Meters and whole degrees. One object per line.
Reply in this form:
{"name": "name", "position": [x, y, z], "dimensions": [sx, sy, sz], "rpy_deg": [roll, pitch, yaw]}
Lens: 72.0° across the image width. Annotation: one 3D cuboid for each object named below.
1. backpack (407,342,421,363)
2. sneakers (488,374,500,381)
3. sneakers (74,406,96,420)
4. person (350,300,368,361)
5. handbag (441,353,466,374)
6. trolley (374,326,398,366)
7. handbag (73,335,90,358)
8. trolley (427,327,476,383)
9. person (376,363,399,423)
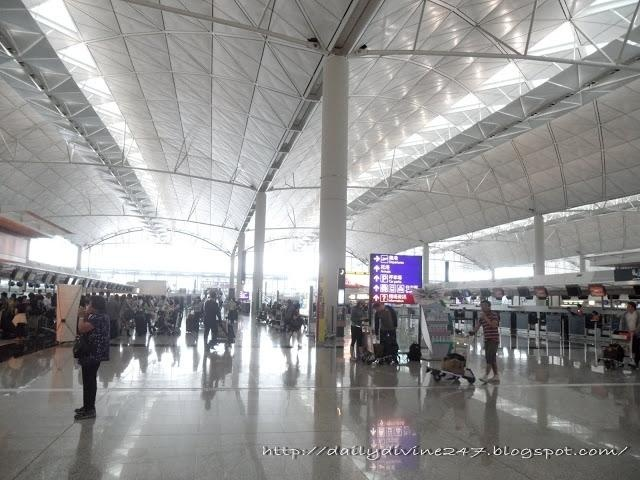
{"name": "backpack", "position": [3.119, 3.656, 14.447], "dimensions": [0.453, 0.596, 0.343], "rpy_deg": [2, -11, -3]}
{"name": "sneakers", "position": [4.587, 3.618, 11.587], "dimensions": [0.272, 0.191, 0.632], "rpy_deg": [-3, -11, 22]}
{"name": "sneakers", "position": [-4.274, 3.094, 7.901], "dimensions": [0.441, 0.182, 0.152], "rpy_deg": [6, -1, -15]}
{"name": "person", "position": [1.312, 2.978, 14.798], "dimensions": [0.516, 1.828, 1.530], "rpy_deg": [1, -11, 5]}
{"name": "handbag", "position": [3.508, 3.199, 11.495], "dimensions": [0.412, 0.463, 0.505], "rpy_deg": [16, -20, 23]}
{"name": "trolley", "position": [2.174, 3.325, 14.254], "dimensions": [0.891, 1.248, 0.985], "rpy_deg": [10, -5, 3]}
{"name": "handbag", "position": [-4.379, 1.933, 7.986], "dimensions": [0.398, 0.444, 0.269], "rpy_deg": [-8, -14, 40]}
{"name": "trolley", "position": [3.468, 3.185, 11.868], "dimensions": [1.403, 1.134, 0.975], "rpy_deg": [5, -7, -18]}
{"name": "person", "position": [1.614, 3.730, 10.586], "dimensions": [0.588, 1.718, 0.353], "rpy_deg": [-3, 26, 3]}
